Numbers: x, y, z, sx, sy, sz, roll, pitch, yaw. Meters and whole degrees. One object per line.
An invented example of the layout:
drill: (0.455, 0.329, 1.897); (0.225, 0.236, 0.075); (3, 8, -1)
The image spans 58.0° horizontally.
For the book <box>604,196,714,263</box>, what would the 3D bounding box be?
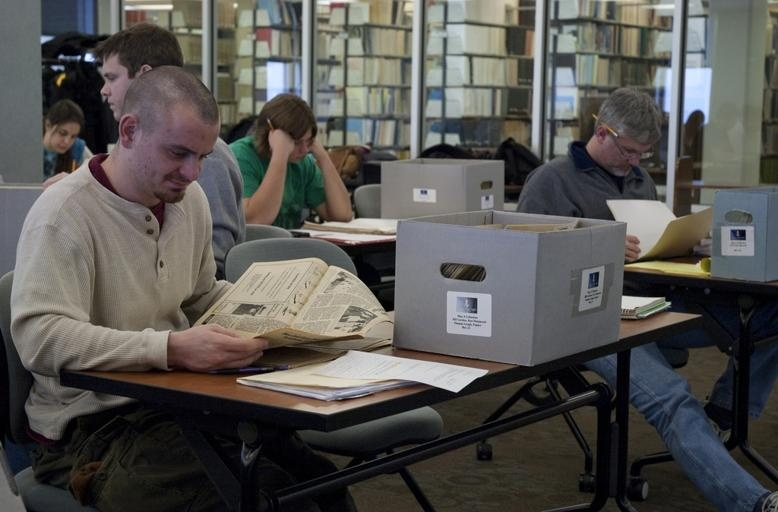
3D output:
book: (1.193, -0.134, 3.140); (0.460, 0.220, 0.377); (-10, 19, -43)

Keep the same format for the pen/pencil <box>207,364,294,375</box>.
pen/pencil: (-0.334, 0.271, 1.664); (0.140, 0.020, 0.020); (0, -3, -23)

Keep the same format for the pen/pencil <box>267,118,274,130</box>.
pen/pencil: (-0.662, -0.734, 3.907); (0.019, 0.091, 0.024); (-16, 6, 12)

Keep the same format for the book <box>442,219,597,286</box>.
book: (0.332, -0.022, 1.866); (0.334, 0.132, 0.362); (2, 8, 18)
